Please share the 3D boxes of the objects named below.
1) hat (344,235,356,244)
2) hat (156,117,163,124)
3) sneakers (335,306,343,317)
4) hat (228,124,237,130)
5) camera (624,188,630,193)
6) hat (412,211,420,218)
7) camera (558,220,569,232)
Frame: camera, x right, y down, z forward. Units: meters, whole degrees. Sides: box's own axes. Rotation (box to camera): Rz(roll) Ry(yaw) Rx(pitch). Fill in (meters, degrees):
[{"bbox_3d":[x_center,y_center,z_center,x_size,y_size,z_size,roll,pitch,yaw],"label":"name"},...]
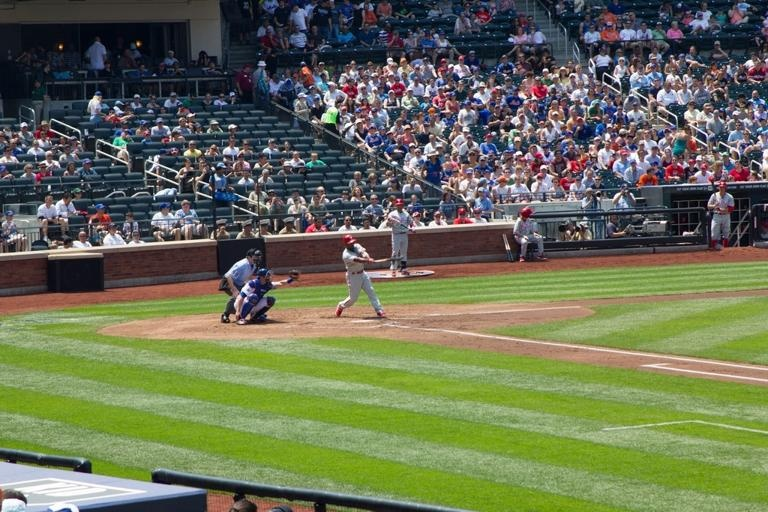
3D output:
[{"bbox_3d":[-0.909,-0.405,45.055,0.297,0.244,0.504,-1,1,-2],"label":"hat"},{"bbox_3d":[-7.359,-4.505,55.819,0.200,0.137,0.288,3,2,-14],"label":"hat"},{"bbox_3d":[-1.177,1.542,45.349,0.160,0.335,0.120,-2,-17,18],"label":"sneakers"},{"bbox_3d":[-4.974,-4.370,56.307,0.254,0.063,0.246,-18,4,-30],"label":"hat"},{"bbox_3d":[8.081,-2.178,56.258,0.200,0.090,0.265,1,2,3],"label":"camera"},{"bbox_3d":[1.052,-1.337,54.613,0.153,0.139,0.192,1,-10,-20],"label":"hat"},{"bbox_3d":[5.915,-0.975,55.545,0.303,0.334,0.299,-2,-5,2],"label":"camera"}]
